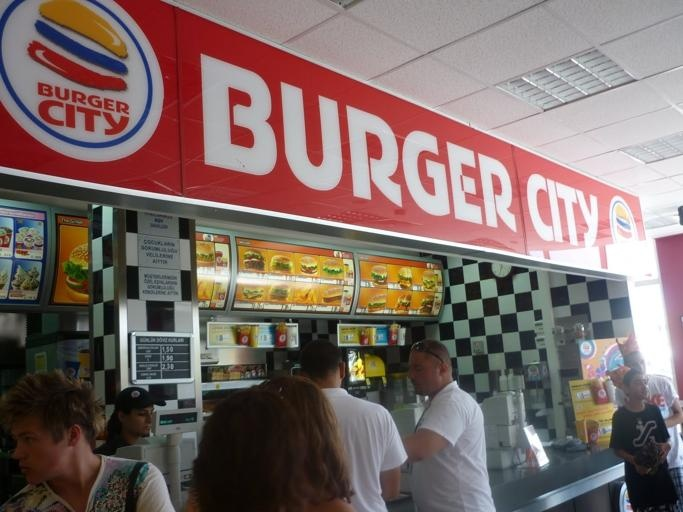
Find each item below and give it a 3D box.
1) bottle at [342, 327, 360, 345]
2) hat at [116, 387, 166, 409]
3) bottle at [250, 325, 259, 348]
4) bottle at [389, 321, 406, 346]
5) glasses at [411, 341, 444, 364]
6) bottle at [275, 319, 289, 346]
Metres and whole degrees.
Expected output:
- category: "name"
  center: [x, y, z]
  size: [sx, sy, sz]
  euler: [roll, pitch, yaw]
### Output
- category: "bottle"
  center: [0.128, 1.010, 6.220]
  size: [0.071, 0.199, 0.296]
  euler: [-7, -5, 42]
- category: "hat"
  center: [-1.115, 0.777, 2.748]
  size: [0.205, 0.109, 0.137]
  euler: [-1, -4, -1]
- category: "bottle"
  center: [-0.950, 0.877, 5.424]
  size: [0.107, 0.217, 0.019]
  euler: [10, -15, -41]
- category: "bottle"
  center: [0.753, 1.056, 6.712]
  size: [0.187, 0.356, 0.355]
  euler: [-3, -6, 36]
- category: "glasses"
  center: [0.487, 0.509, 2.686]
  size: [0.131, 0.039, 0.111]
  euler: [26, -23, -32]
- category: "bottle"
  center: [-0.673, 0.893, 5.655]
  size: [0.111, 0.279, 0.158]
  euler: [-2, -12, 9]
